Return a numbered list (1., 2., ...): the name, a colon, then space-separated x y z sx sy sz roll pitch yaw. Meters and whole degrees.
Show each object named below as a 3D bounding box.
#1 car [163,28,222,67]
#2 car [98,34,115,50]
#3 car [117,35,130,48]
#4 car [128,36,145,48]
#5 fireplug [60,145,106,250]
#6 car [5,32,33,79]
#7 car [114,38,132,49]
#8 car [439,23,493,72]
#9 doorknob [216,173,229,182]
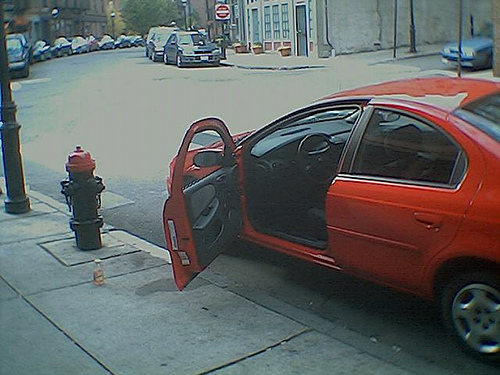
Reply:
1. car: -4.185 -9.912 30.006 2.773 2.823 4.101 -11 16 -23
2. car: -21.799 -21.733 63.943 2.935 1.702 3.933 -12 28 -26
3. car: -20.668 -23.472 68.909 1.006 1.619 2.753 -2 14 11
4. car: -19.572 -25.109 73.295 1.862 2.210 5.112 -5 13 -2
5. fireplug: -1.955 0.111 5.367 0.637 1.236 0.568 7 15 29
6. car: -14.308 -8.134 26.053 1.254 2.702 2.401 -11 17 -16
7. car: -20.948 -23.317 68.945 1.958 0.984 2.931 18 28 28
8. car: 8.749 -5.472 17.104 1.755 1.615 3.493 3 14 23
9. doorknob: -0.275 -0.104 4.249 0.117 0.044 0.028 -24 14 -39
